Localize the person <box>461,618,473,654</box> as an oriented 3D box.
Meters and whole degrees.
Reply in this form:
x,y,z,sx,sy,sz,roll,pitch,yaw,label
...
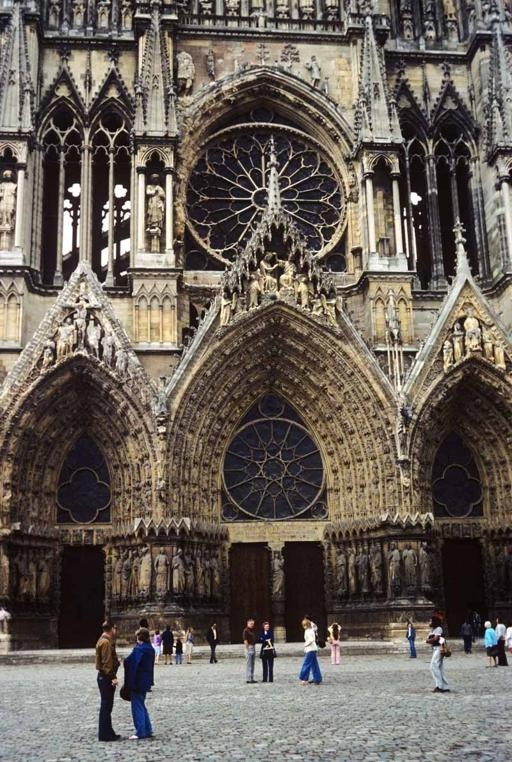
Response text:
x,y,z,sx,sy,sz,roll,pitch,yaw,label
4.875,5.908,22.435,0.180,0.669,0.922,-3,-12,9,person

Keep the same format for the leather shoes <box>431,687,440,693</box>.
x,y,z,sx,sy,sz,roll,pitch,yaw,label
2.369,4.081,12.892,0.041,0.091,0.124,7,-12,-14,leather shoes

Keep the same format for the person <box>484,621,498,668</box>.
x,y,z,sx,sy,sz,roll,pitch,yaw,label
4.413,4.918,18.262,0.201,0.768,1.384,-4,-12,13,person

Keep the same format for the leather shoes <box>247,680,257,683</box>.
x,y,z,sx,sy,sz,roll,pitch,yaw,label
-0.075,4.770,15.496,0.160,0.070,0.055,1,-15,2,leather shoes

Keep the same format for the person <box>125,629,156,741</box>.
x,y,z,sx,sy,sz,roll,pitch,yaw,label
-1.153,2.946,9.530,0.282,1.011,0.737,0,-11,-7,person

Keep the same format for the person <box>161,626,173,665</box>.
x,y,z,sx,sy,sz,roll,pitch,yaw,label
-2.061,6.046,22.282,0.239,0.725,0.502,0,-11,-7,person
